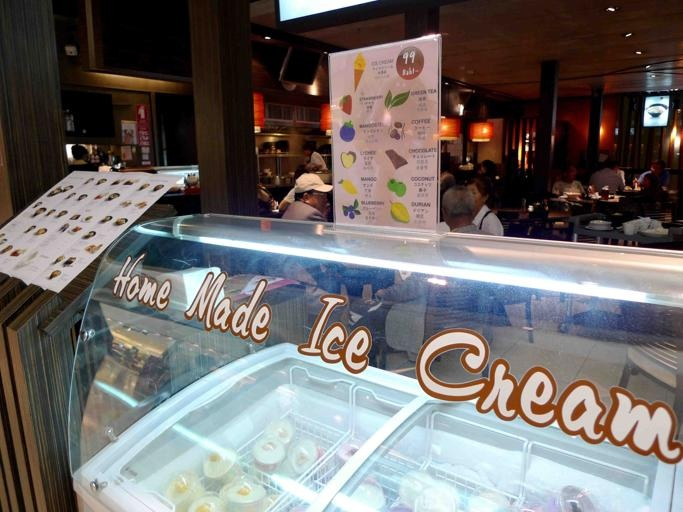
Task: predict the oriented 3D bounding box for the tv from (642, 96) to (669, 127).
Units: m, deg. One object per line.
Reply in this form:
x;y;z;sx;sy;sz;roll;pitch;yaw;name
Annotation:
8.180;-3.769;11.841;0.737;1.076;0.107;3;7;32;tv

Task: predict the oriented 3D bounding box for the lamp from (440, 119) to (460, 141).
2.144;-2.528;9.000;0.338;0.402;0.763;2;17;10;lamp

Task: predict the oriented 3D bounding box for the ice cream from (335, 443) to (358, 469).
0.015;0.532;1.236;0.061;0.029;0.066;-2;16;-5;ice cream

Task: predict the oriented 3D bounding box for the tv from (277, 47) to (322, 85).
-0.585;-2.707;6.531;0.710;0.528;0.078;22;5;34;tv

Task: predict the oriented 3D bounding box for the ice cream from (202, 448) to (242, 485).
-0.353;0.606;1.356;0.087;0.093;0.091;1;-1;9;ice cream

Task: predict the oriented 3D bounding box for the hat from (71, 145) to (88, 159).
-3.796;-1.496;6.609;0.160;0.216;0.197;10;10;12;hat
